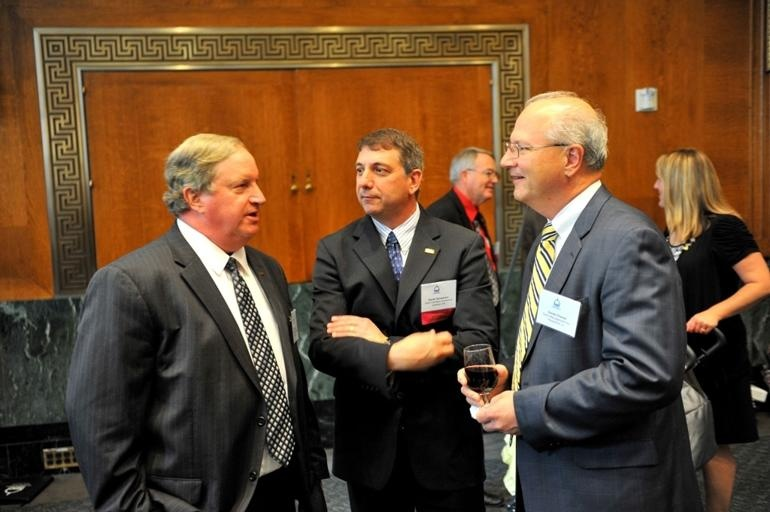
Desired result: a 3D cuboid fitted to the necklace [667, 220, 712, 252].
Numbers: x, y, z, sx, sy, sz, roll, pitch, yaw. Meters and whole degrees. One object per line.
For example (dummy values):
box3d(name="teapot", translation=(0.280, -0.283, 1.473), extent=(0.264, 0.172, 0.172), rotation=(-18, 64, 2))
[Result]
box3d(name="necklace", translation=(2.012, -0.121, 4.845), extent=(0.194, 0.097, 0.260), rotation=(-11, 4, 38))

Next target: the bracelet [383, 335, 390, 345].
box3d(name="bracelet", translation=(0.017, 0.461, 3.959), extent=(0.023, 0.031, 0.011), rotation=(-12, -12, -20))
